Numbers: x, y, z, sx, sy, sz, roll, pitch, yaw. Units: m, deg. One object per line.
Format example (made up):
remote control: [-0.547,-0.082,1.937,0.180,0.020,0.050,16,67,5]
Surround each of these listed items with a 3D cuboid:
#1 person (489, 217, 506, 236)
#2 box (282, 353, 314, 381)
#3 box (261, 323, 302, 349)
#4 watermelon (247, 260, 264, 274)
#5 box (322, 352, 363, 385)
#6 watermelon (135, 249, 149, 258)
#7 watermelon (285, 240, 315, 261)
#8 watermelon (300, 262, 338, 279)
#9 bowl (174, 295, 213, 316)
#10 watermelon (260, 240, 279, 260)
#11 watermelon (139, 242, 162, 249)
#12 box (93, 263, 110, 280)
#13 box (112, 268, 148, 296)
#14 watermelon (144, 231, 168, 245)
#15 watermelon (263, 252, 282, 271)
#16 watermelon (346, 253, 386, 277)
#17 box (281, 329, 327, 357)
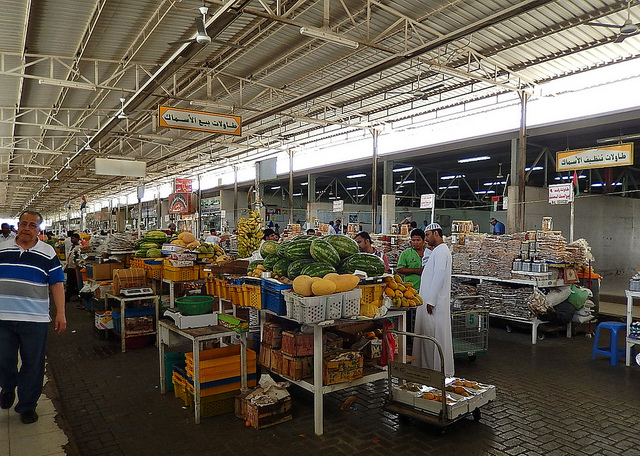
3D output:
person: [6.342,-0.066,16.776,0.361,0.895,0.462,-19,0,31]
box: [-0.315,1.932,6.599,0.353,0.226,0.349,3,-3,-37]
box: [-0.636,1.586,6.937,0.401,0.245,0.395,1,-1,-16]
watermelon: [-0.991,0.596,7.266,0.255,0.173,0.317,-1,10,-8]
box: [0.269,1.981,6.732,0.378,0.321,0.733,2,-3,45]
watermelon: [-3.924,0.554,10.356,0.228,0.126,0.173,-8,48,-22]
watermelon: [-0.316,0.333,6.938,0.452,0.218,0.222,-3,-1,-13]
watermelon: [-0.001,0.609,6.634,0.423,0.218,0.217,-3,-6,-18]
bowl: [-1.911,1.162,7.215,0.541,0.224,0.301,-4,11,-26]
watermelon: [-0.855,0.356,7.806,0.301,0.175,0.233,-20,-4,11]
watermelon: [-3.753,0.401,10.420,0.451,0.157,0.478,-3,10,-21]
box: [-4.936,0.987,10.641,0.340,0.341,0.349,1,-2,-25]
box: [-3.925,1.092,9.730,0.681,0.439,0.557,-3,10,-21]
watermelon: [-3.734,0.229,10.724,0.399,0.228,0.302,1,3,-16]
watermelon: [-0.748,0.504,7.178,0.310,0.169,0.168,-20,27,-29]
watermelon: [0.680,0.533,6.902,0.531,0.275,0.288,3,-4,-12]
box: [-0.287,1.612,6.658,0.410,0.259,0.405,2,-1,-29]
